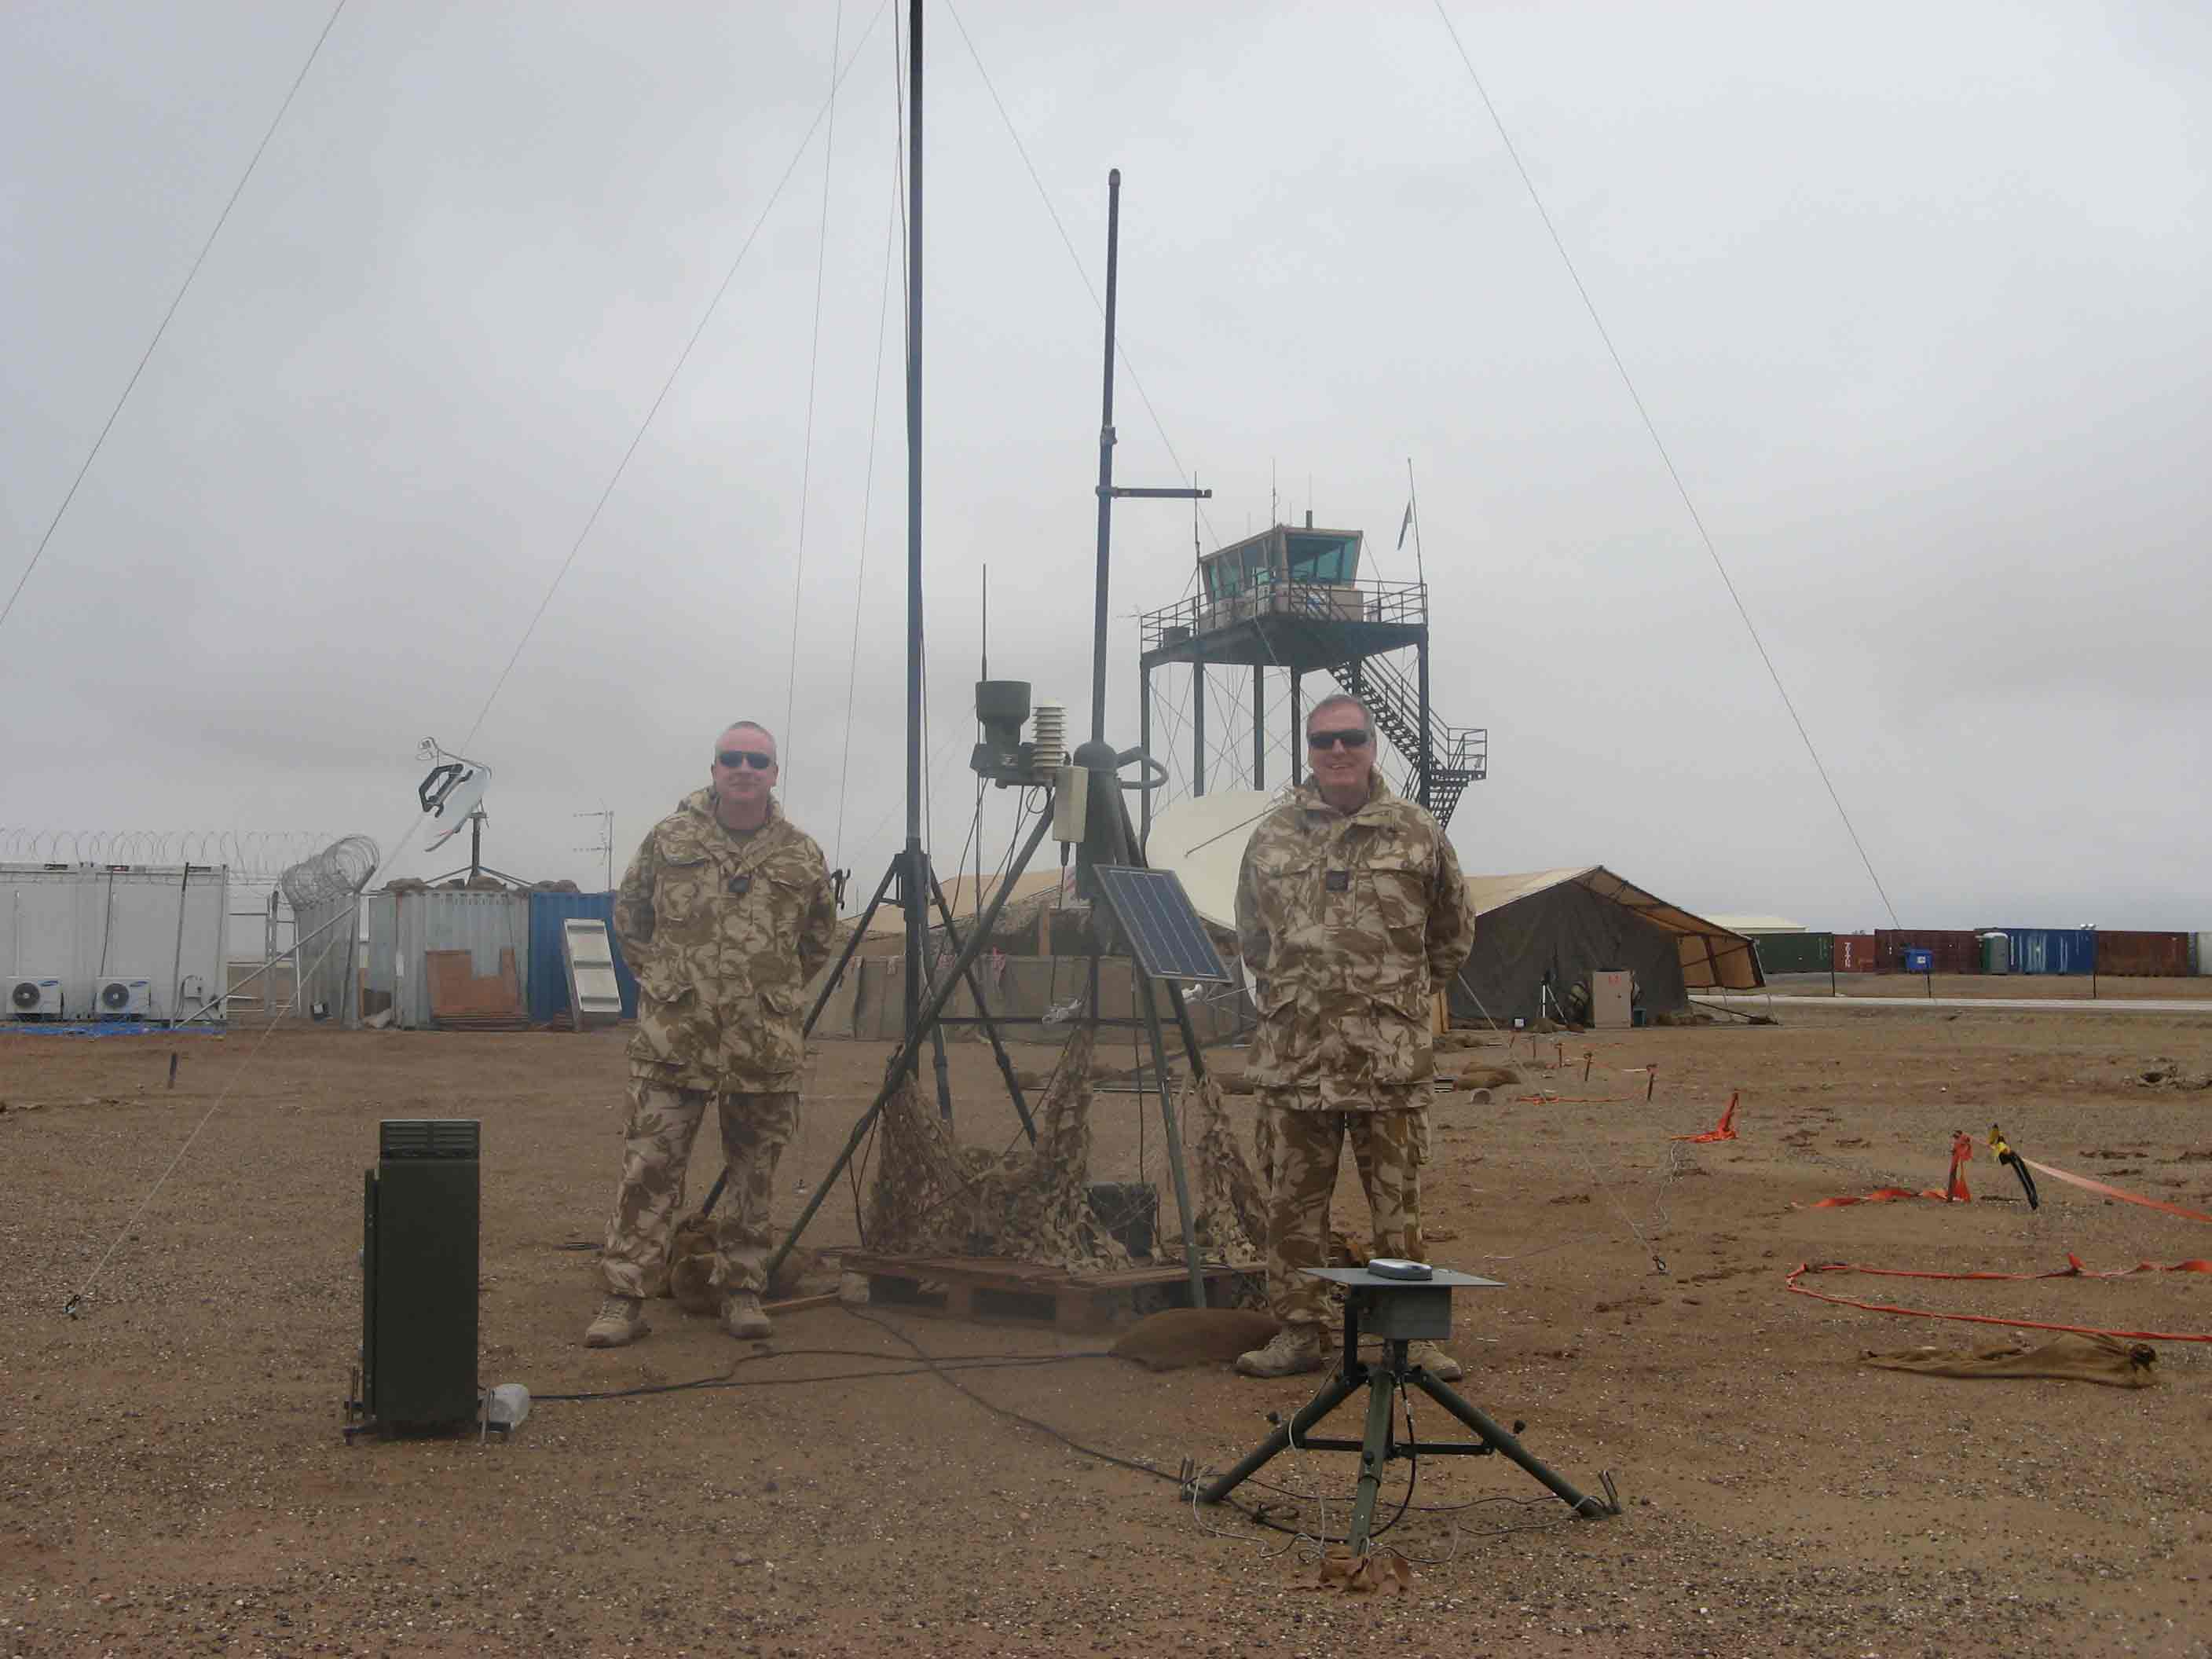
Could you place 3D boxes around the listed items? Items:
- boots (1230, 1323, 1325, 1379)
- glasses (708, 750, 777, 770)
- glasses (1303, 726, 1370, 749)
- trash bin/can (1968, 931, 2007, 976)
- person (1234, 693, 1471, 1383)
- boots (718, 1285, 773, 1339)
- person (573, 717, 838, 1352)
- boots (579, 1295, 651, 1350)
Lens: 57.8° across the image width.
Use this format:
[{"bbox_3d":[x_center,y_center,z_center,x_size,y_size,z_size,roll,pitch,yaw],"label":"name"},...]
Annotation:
[{"bbox_3d":[0.670,1.951,7.552,0.255,0.110,0.158,-5,4,-30],"label":"boots"},{"bbox_3d":[-1.466,-0.292,8.191,0.234,0.069,0.178,2,-6,-15],"label":"glasses"},{"bbox_3d":[0.866,-0.336,7.446,0.215,0.117,0.097,0,-6,4],"label":"glasses"},{"bbox_3d":[33.631,4.650,76.215,1.271,2.459,1.304,0,0,-7],"label":"trash bin/can"},{"bbox_3d":[0.924,0.739,7.467,0.861,2.575,0.634,0,-6,3],"label":"person"},{"bbox_3d":[-1.452,1.969,8.172,0.205,0.169,0.296,2,-6,-11],"label":"boots"},{"bbox_3d":[-1.601,0.827,8.261,0.913,2.476,0.593,2,-6,-9],"label":"person"},{"bbox_3d":[-1.932,1.955,8.025,0.181,0.183,0.369,-4,-7,36],"label":"boots"}]
